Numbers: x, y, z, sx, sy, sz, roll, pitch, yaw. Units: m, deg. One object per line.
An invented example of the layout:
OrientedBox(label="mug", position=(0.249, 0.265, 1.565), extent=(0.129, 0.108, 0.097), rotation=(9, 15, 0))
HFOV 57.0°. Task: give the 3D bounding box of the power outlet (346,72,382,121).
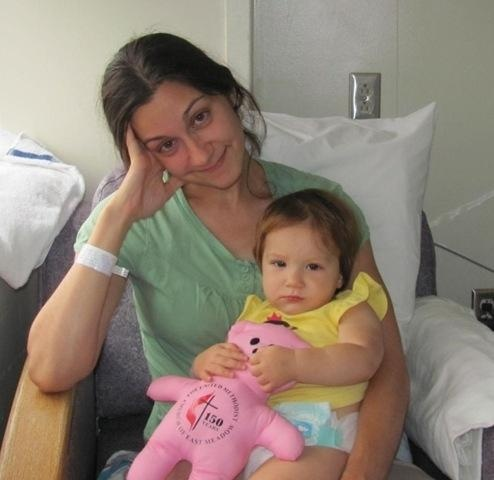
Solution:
OrientedBox(label="power outlet", position=(0.481, -0.602, 1.875), extent=(0.124, 0.208, 0.063), rotation=(-5, 20, -12))

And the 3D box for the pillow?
OrientedBox(label="pillow", position=(0.285, 0.052, 1.614), extent=(0.530, 1.018, 0.570), rotation=(12, 19, 10))

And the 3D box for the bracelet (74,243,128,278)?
OrientedBox(label="bracelet", position=(-0.328, 0.026, 1.012), extent=(0.097, 0.070, 0.076), rotation=(-14, 22, -36))
